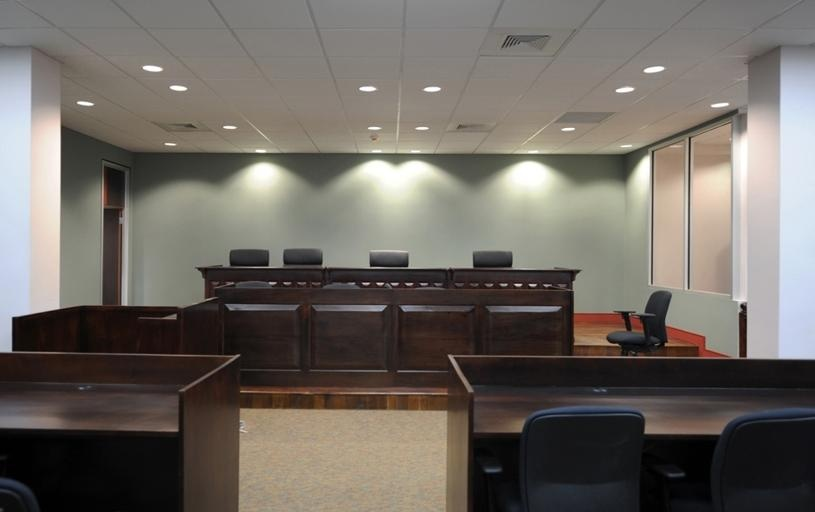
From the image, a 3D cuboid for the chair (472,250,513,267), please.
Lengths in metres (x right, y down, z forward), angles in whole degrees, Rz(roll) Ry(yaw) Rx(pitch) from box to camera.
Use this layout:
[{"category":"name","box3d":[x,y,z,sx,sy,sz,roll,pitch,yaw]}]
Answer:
[{"category":"chair","box3d":[1.313,0.051,9.061,0.575,0.227,0.131,0,-4,-5]}]

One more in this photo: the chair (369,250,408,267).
[{"category":"chair","box3d":[-0.278,0.039,9.001,0.538,0.227,0.178,0,-4,10]}]
